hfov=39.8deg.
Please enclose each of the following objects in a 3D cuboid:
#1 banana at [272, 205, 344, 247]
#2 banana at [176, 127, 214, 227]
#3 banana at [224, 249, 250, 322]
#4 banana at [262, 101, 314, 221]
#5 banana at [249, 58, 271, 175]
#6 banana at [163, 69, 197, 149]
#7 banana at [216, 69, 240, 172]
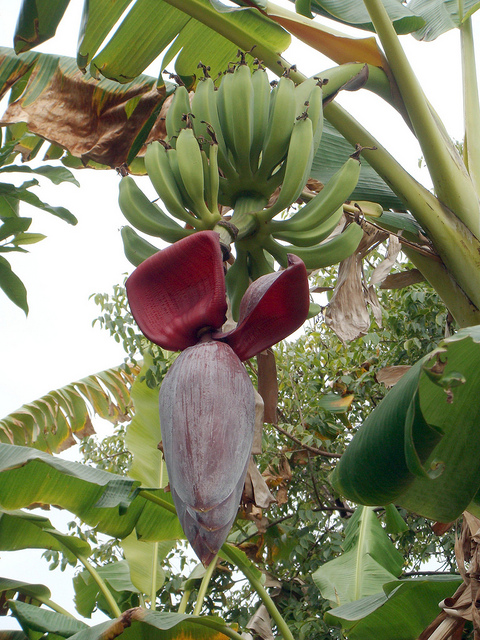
[{"bbox_3d":[0.140,-0.188,1.365,0.044,0.065,0.195,30,-28,-35],"label":"banana"},{"bbox_3d":[-0.092,-0.291,1.270,0.050,0.220,0.060,-11,2,-22],"label":"banana"},{"bbox_3d":[-0.016,-0.072,1.412,0.046,0.124,0.050,15,26,29],"label":"banana"},{"bbox_3d":[0.116,-0.308,1.323,0.076,0.250,0.114,8,-4,16],"label":"banana"},{"bbox_3d":[0.054,-0.428,1.373,0.048,0.212,0.046,3,-5,8],"label":"banana"},{"bbox_3d":[-0.135,-0.479,1.468,0.033,0.109,0.042,3,15,30],"label":"banana"},{"bbox_3d":[-0.027,-0.412,1.392,0.064,0.205,0.086,-2,-7,2],"label":"banana"}]
